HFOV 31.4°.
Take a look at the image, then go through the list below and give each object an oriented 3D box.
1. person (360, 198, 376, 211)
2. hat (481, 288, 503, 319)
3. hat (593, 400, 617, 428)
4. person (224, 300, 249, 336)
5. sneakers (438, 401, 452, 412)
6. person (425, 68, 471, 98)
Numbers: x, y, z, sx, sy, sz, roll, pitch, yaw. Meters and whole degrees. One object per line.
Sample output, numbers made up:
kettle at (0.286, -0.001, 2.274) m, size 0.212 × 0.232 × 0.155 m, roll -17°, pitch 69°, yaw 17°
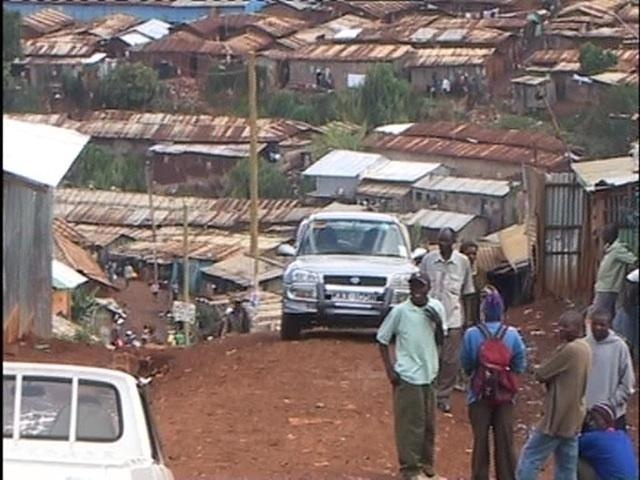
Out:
person at (2.039, -1.530, 46.938) m, size 0.387 × 0.358 × 0.716 m, roll 7°, pitch 18°, yaw -2°
hat at (2.905, 1.091, 19.295) m, size 0.335 × 0.539 × 0.550 m, roll 1°, pitch 8°, yaw 5°
hat at (4.668, 2.913, 18.787) m, size 0.378 × 0.326 × 0.139 m, roll 28°, pitch 44°, yaw 30°
person at (-2.638, 2.549, 36.340) m, size 0.515 × 1.305 × 0.677 m, roll 7°, pitch -24°, yaw -21°
sneakers at (2.305, 3.129, 21.128) m, size 0.110 × 0.157 × 0.337 m, roll -1°, pitch -6°, yaw -13°
person at (7.006, -8.567, 62.060) m, size 1.841 × 1.129 × 1.266 m, roll 3°, pitch 16°, yaw 14°
